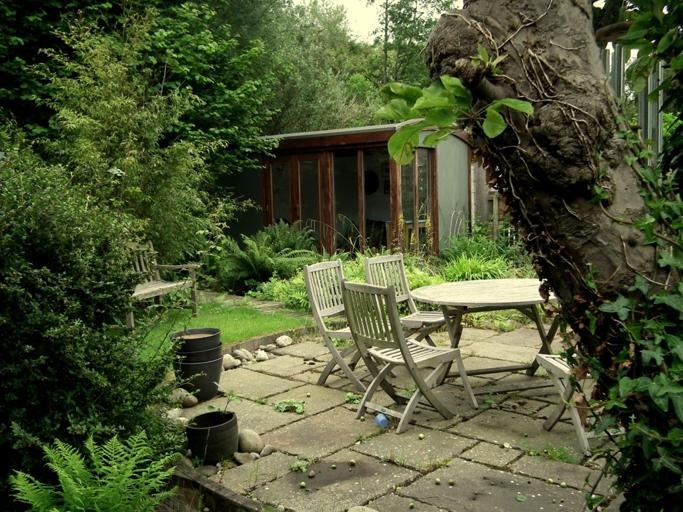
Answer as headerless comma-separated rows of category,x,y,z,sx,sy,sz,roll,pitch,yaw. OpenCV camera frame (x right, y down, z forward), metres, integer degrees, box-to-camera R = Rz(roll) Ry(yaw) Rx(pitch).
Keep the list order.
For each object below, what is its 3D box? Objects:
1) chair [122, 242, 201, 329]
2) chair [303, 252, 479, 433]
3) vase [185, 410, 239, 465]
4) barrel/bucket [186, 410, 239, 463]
chair,-2.558,0.353,8.371,0.758,1.012,1.679,0,-2,-16
chair,0.440,0.849,5.276,0.543,0.879,1.258,-16,11,-21
vase,-0.874,1.245,3.881,0.348,0.250,0.344,-5,7,14
barrel/bucket,-0.875,1.242,3.880,0.348,0.248,0.340,-6,7,1
